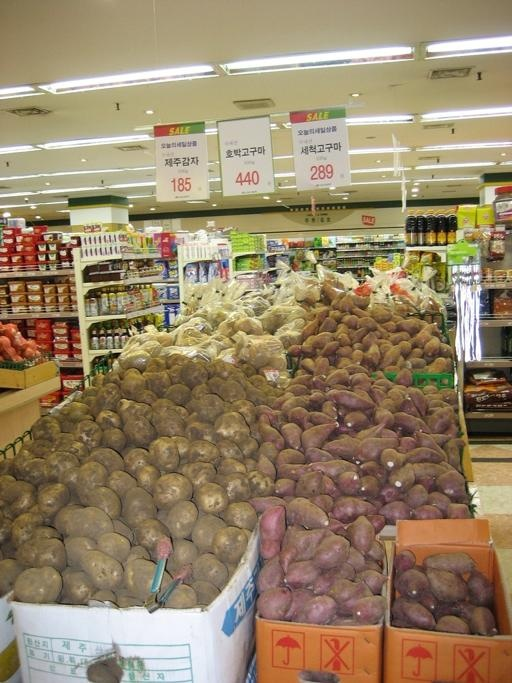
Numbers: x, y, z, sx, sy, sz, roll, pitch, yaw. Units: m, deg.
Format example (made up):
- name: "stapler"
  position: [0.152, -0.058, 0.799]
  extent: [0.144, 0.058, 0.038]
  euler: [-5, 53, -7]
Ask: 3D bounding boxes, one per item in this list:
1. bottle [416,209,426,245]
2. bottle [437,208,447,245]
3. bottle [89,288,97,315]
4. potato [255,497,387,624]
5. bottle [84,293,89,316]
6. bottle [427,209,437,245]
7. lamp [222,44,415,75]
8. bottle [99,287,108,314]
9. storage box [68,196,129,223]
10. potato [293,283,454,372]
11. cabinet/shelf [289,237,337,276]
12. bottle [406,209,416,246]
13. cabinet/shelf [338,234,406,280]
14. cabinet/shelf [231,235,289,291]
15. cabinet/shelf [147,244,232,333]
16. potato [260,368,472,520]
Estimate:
- name: "bottle"
  position: [1.770, -1.187, 5.627]
  extent: [0.106, 0.311, 0.073]
  euler: [-2, 8, 16]
- name: "bottle"
  position: [1.969, -1.181, 5.554]
  extent: [0.113, 0.312, 0.086]
  euler: [-2, 8, 18]
- name: "bottle"
  position: [-1.854, -0.420, 5.931]
  extent: [0.129, 0.246, 0.170]
  euler: [-7, 8, -16]
- name: "potato"
  position: [0.138, 0.519, 1.186]
  extent: [0.254, 0.087, 0.242]
  euler: [1, 37, 7]
- name: "bottle"
  position: [-1.901, -0.404, 5.909]
  extent: [0.054, 0.231, 0.089]
  euler: [-6, 8, -13]
- name: "bottle"
  position: [1.869, -1.182, 5.610]
  extent: [0.103, 0.309, 0.076]
  euler: [-2, 8, 18]
- name: "lamp"
  position: [0.545, -2.860, 5.199]
  extent: [1.387, 0.097, 0.225]
  euler: [-1, -23, 7]
- name: "bottle"
  position: [-1.696, -0.421, 5.885]
  extent: [0.117, 0.239, 0.072]
  euler: [-8, 8, -23]
- name: "storage box"
  position: [-4.361, -3.666, 14.592]
  extent: [1.548, 0.782, 0.959]
  euler: [-6, 8, -16]
- name: "potato"
  position: [0.580, -0.009, 2.585]
  extent: [0.544, 0.210, 0.563]
  euler: [0, 16, 7]
- name: "cabinet/shelf"
  position: [1.755, -2.818, 16.488]
  extent: [1.218, 1.044, 3.195]
  euler: [-2, 8, 18]
- name: "bottle"
  position: [1.681, -1.219, 5.744]
  extent: [0.080, 0.338, 0.241]
  euler: [-4, 8, 1]
- name: "cabinet/shelf"
  position: [4.078, -3.218, 19.148]
  extent: [1.891, 1.671, 0.577]
  euler: [2, 34, 18]
- name: "cabinet/shelf"
  position: [0.091, -1.702, 10.746]
  extent: [1.010, 1.094, 5.195]
  euler: [-4, 8, 2]
- name: "cabinet/shelf"
  position: [-0.756, -0.617, 5.663]
  extent: [0.470, 1.272, 1.322]
  euler: [5, 4, 14]
- name: "potato"
  position: [0.344, 0.324, 1.624]
  extent: [0.409, 0.153, 0.489]
  euler: [0, 15, 1]
